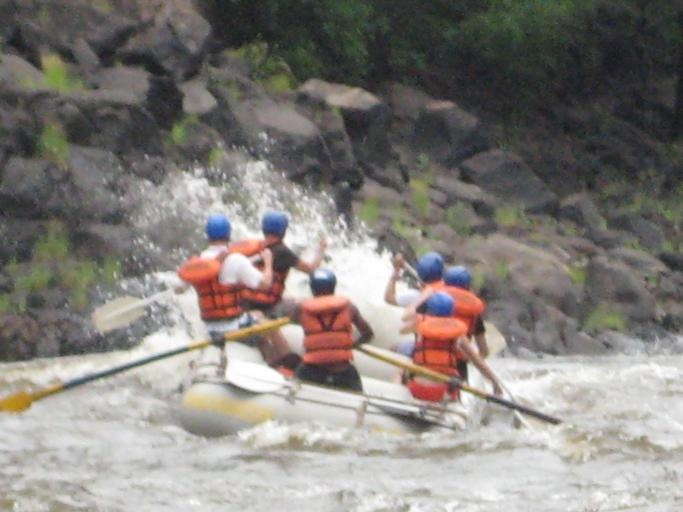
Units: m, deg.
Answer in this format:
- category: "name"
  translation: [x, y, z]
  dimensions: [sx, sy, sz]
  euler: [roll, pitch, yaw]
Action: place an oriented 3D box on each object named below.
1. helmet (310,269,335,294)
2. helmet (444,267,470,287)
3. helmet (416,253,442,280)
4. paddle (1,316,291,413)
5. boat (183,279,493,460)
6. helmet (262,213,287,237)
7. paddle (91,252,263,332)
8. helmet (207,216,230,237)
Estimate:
- category: "helmet"
  translation: [-0.262, 0.345, 23.601]
  dimensions: [0.263, 0.396, 0.377]
  euler: [5, 34, 4]
- category: "helmet"
  translation: [1.689, 0.287, 24.030]
  dimensions: [0.256, 0.339, 0.338]
  euler: [19, 42, 22]
- category: "helmet"
  translation: [1.294, 0.165, 24.216]
  dimensions: [0.276, 0.441, 0.351]
  euler: [4, -20, 12]
- category: "paddle"
  translation: [-2.833, 1.629, 24.277]
  dimensions: [3.094, 0.488, 0.227]
  euler: [-17, 59, -5]
- category: "boat"
  translation: [-0.402, 1.647, 23.494]
  dimensions: [2.635, 0.989, 1.834]
  euler: [6, 26, -5]
- category: "helmet"
  translation: [-0.973, -0.491, 24.199]
  dimensions: [0.275, 0.388, 0.370]
  euler: [1, 14, -3]
- category: "paddle"
  translation: [-2.464, 0.567, 24.675]
  dimensions: [2.683, 0.440, 0.126]
  euler: [-22, -17, 8]
- category: "helmet"
  translation: [-1.795, -0.442, 23.914]
  dimensions: [0.287, 0.301, 0.292]
  euler: [10, 13, 39]
